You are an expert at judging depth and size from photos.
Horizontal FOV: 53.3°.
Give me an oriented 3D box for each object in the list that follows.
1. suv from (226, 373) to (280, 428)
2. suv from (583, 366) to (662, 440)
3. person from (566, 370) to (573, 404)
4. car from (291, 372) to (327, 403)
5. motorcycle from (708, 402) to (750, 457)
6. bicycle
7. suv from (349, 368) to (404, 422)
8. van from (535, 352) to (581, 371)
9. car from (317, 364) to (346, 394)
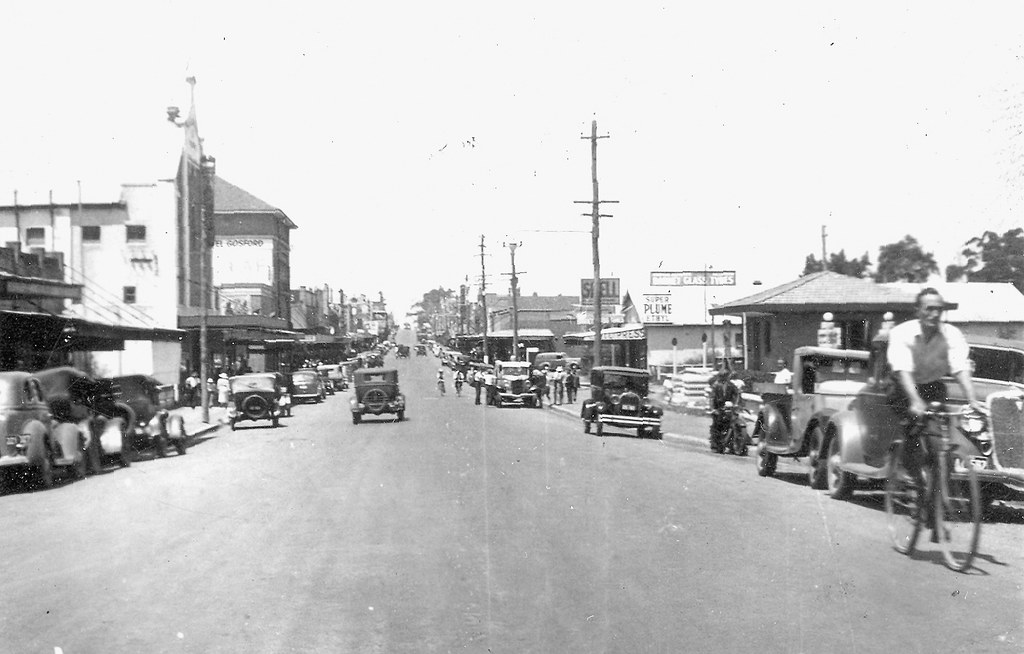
[{"bbox_3d":[-10.176,2.863,40.410,1.489,1.468,2.559,0,3,-9],"label":"suv"},{"bbox_3d":[3.494,2.483,33.797,1.616,1.528,2.849,2,-7,-12],"label":"suv"},{"bbox_3d":[2.983,3.094,51.596,0.409,1.582,1.240,-1,1,3],"label":"person"},{"bbox_3d":[-12.016,3.620,60.012,1.748,1.678,4.661,0,-2,-8],"label":"car"},{"bbox_3d":[5.780,2.714,27.261,0.576,1.339,1.548,-1,1,-16],"label":"motorcycle"},{"bbox_3d":[5.471,2.036,13.331,0.494,2.083,1.550,-1,1,-12],"label":"bicycle"},{"bbox_3d":[-5.460,2.636,41.572,1.403,1.378,2.618,-1,3,-4],"label":"suv"},{"bbox_3d":[4.035,3.497,94.589,3.244,1.546,1.940,-1,1,-5],"label":"van"},{"bbox_3d":[-13.080,3.798,74.938,1.349,1.214,2.435,1,3,-4],"label":"car"}]
